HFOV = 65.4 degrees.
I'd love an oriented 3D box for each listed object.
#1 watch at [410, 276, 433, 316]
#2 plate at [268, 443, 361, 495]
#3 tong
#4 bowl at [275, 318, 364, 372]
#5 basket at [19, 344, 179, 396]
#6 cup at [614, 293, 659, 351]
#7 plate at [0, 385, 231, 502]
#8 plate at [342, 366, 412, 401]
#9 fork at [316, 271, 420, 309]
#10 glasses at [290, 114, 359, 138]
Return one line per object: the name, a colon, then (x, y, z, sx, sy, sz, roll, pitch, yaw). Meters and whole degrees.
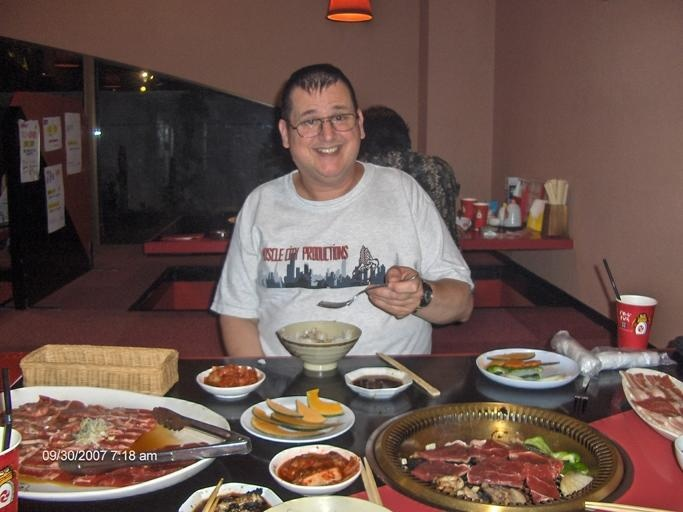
watch: (0.296, 0.136, 1.849, 0.078, 0.112, 0.106, 20, -32, -22)
plate: (-0.057, 0.460, 1.136, 0.168, 0.050, 0.149, -10, 15, -34)
tong: (-0.360, 0.398, 1.222, 0.251, 0.040, 0.246, 9, 3, -24)
bowl: (-0.070, 0.280, 1.616, 0.243, 0.091, 0.240, 1, 7, 0)
basket: (-0.661, 0.299, 1.439, 0.336, 0.073, 0.167, 2, 16, 2)
cup: (0.998, 0.228, 1.824, 0.134, 0.169, 0.098, -6, 14, -18)
plate: (-0.532, 0.448, 1.308, 0.365, 0.038, 0.263, 4, 15, -5)
plate: (0.102, 0.355, 1.476, 0.178, 0.040, 0.183, 5, 10, 34)
fork: (0.083, 0.126, 1.904, 0.321, 0.043, 0.048, -19, -35, 12)
glasses: (-0.067, -0.497, 2.022, 0.241, 0.083, 0.081, -3, 13, -7)
